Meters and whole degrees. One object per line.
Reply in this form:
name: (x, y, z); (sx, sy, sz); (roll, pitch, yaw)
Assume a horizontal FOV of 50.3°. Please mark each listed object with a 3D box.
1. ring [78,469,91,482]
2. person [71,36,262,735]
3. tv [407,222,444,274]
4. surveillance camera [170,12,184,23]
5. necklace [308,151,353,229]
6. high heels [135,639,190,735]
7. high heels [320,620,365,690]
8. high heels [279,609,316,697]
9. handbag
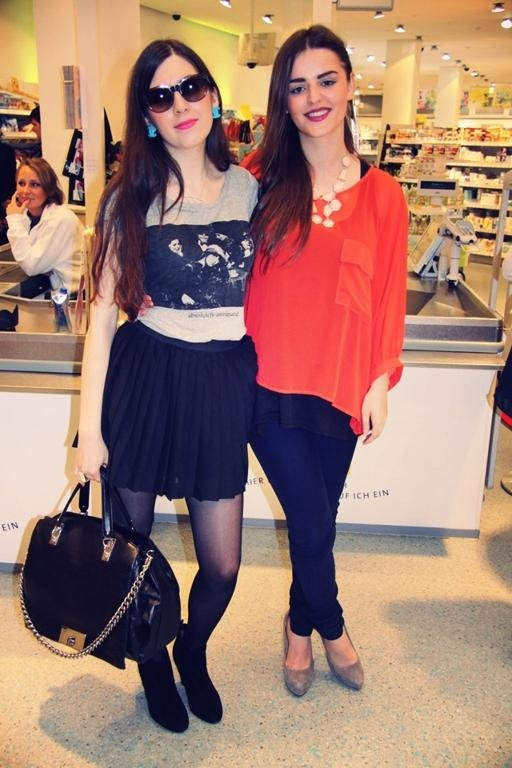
ring: (-0.347, 0.189, 1.104); (0.017, 0.029, 0.015); (7, 53, 4)
person: (-0.196, 0.116, 1.176); (0.385, 1.562, 0.259); (0, 12, -1)
tv: (0.939, -0.777, 3.060); (0.165, 0.295, 0.749); (4, 14, 15)
surveillance camera: (-1.566, -7.308, 10.784); (0.159, 0.177, 0.160); (-27, 48, -30)
necklace: (0.158, -0.396, 1.156); (0.071, 0.182, 0.027); (21, -11, 17)
high heels: (-0.258, 0.738, 1.428); (0.086, 0.115, 0.266); (-12, 39, -13)
high heels: (0.240, 0.771, 1.538); (0.071, 0.232, 0.089); (-22, -4, -3)
high heels: (0.121, 0.800, 1.591); (0.091, 0.065, 0.319); (9, 12, 0)
handbag: (-0.338, 0.354, 1.127); (0.308, 0.364, 0.187); (8, 7, 18)
